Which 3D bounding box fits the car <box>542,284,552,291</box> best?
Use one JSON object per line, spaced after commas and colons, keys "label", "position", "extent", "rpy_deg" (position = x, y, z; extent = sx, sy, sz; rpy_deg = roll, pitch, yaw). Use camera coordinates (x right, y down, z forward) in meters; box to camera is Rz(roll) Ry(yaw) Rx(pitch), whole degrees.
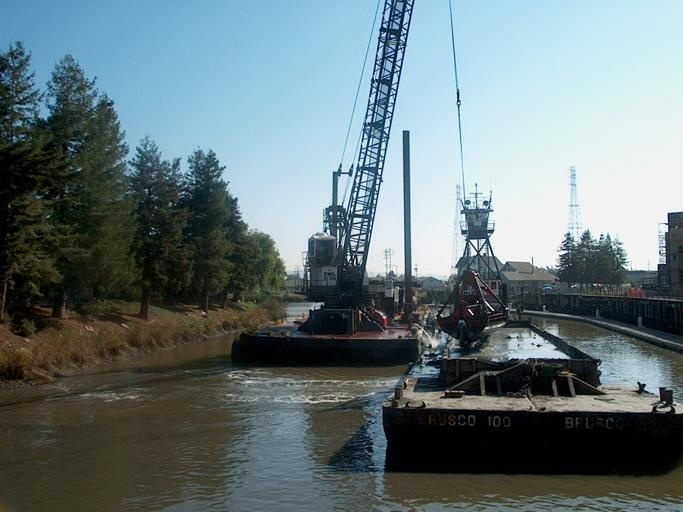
{"label": "car", "position": [36.046, 5.738, 104.537], "extent": [1.552, 1.309, 2.706], "rpy_deg": [-2, -5, 15]}
